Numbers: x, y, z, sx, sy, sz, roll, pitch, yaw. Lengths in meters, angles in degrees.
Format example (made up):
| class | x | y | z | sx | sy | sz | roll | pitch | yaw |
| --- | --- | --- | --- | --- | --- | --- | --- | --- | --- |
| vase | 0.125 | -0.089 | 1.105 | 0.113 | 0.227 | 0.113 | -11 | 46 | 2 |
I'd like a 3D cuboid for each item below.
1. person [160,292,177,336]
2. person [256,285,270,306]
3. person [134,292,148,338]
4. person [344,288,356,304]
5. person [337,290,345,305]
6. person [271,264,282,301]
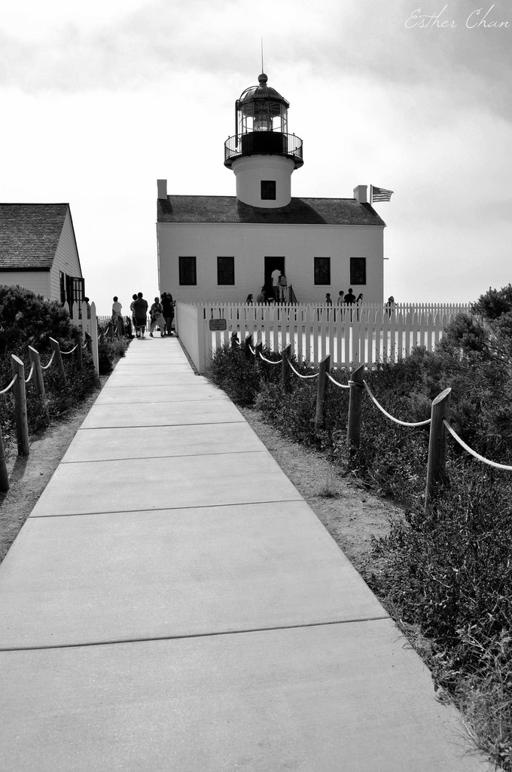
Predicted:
| class | x | y | z | sx | sy | sz | roll | pitch | yaw |
| --- | --- | --- | --- | --- | --- | --- | --- | --- | --- |
| person | -3.510 | -2.885 | 30.418 | 0.452 | 1.612 | 2.571 | -1 | 9 | -6 |
| person | 0.399 | -4.627 | 37.971 | 0.682 | 0.747 | 1.599 | -1 | 9 | 0 |
| person | -4.324 | -2.656 | 28.415 | 0.469 | 1.707 | 1.804 | -1 | 8 | -9 |
| person | 4.792 | -4.625 | 39.115 | 0.585 | 1.482 | 0.563 | -1 | 3 | -4 |
| person | 4.400 | -4.677 | 39.474 | 0.391 | 0.578 | 0.740 | 0 | 8 | 7 |
| person | 1.003 | -5.026 | 37.980 | 0.542 | 1.478 | 0.581 | 1 | 6 | 12 |
